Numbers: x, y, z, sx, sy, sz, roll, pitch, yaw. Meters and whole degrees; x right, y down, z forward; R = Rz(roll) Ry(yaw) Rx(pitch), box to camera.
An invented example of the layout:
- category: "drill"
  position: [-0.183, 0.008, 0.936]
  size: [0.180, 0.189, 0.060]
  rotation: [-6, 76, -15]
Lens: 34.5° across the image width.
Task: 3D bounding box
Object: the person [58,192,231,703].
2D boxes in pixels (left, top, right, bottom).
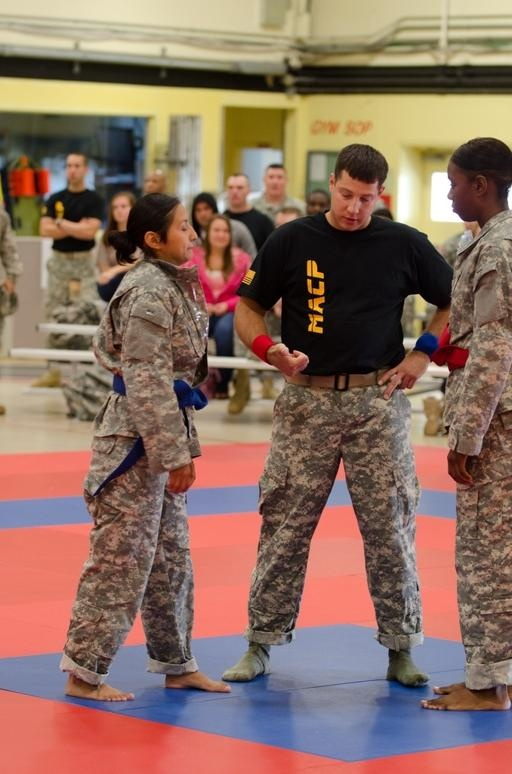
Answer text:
- category: "person"
  position: [-0.303, 0.171, 2.303]
  size: [0.454, 1.171, 0.460]
  rotation: [2, -1, 9]
